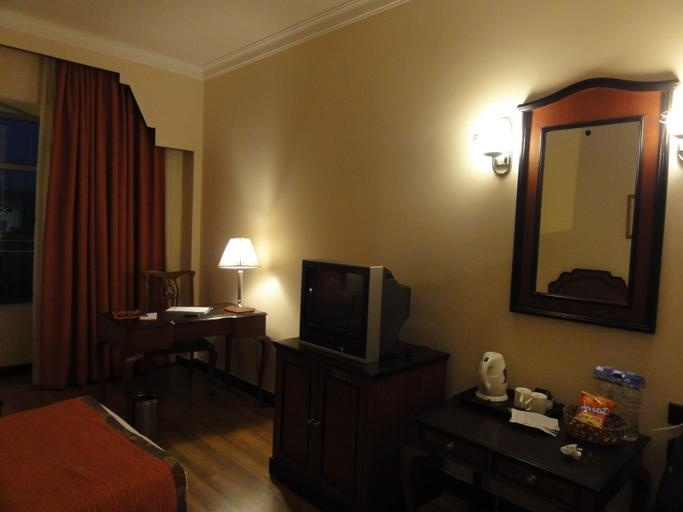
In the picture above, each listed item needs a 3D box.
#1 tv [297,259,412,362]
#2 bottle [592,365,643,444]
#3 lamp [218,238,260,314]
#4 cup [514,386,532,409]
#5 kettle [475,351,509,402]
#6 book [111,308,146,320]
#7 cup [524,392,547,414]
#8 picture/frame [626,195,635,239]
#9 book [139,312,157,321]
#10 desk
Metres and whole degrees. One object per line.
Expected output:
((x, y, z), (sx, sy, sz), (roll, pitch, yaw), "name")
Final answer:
((0.096, 0.199, 3.864), (0.586, 0.769, 0.829), (-2, 6, -38), "tv")
((1.554, 0.847, 2.971), (0.155, 0.443, 0.313), (-6, 10, -32), "bottle")
((-0.965, 0.184, 5.111), (0.359, 0.730, 0.660), (1, 10, -4), "lamp")
((1.103, 0.860, 3.240), (0.120, 0.127, 0.081), (-4, 6, -35), "cup")
((0.948, 0.781, 3.461), (0.216, 0.288, 0.257), (-3, -11, 37), "kettle")
((-1.841, 0.505, 4.567), (0.255, 0.034, 0.318), (-8, 15, -44), "book")
((1.183, 0.885, 3.218), (0.117, 0.096, 0.097), (-1, 2, 24), "cup")
((1.696, -0.232, 3.107), (0.051, 0.260, 0.032), (7, 11, 30), "picture/frame")
((-1.647, 0.521, 4.524), (0.151, 0.011, 0.229), (0, 11, -14), "book")
((-1.567, 0.618, 4.746), (1.367, 0.770, 0.893), (-3, 9, -41), "desk")
